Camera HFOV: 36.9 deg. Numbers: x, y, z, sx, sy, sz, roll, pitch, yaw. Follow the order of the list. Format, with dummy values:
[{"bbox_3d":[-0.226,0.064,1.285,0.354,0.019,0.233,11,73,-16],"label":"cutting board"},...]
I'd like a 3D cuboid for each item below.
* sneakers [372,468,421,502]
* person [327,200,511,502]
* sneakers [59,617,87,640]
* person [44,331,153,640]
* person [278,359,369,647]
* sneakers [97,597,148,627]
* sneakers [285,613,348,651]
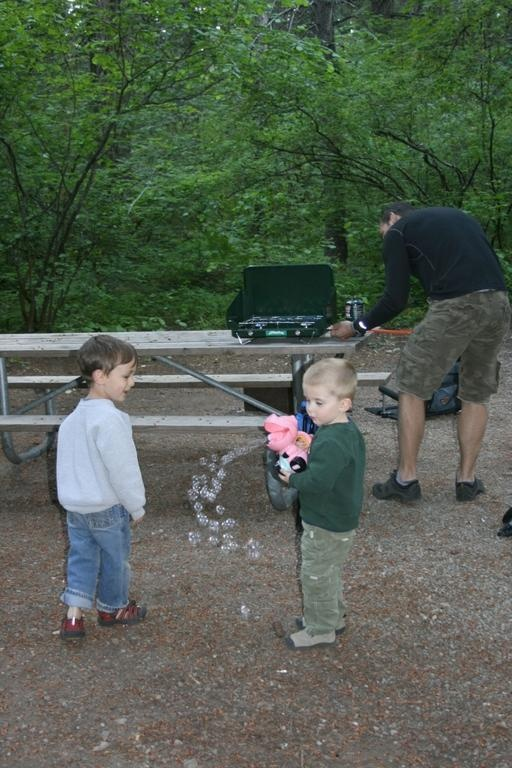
[{"bbox_3d":[0.753,0.554,4.177,0.300,0.161,0.120,5,8,23],"label":"sneakers"},{"bbox_3d":[0.895,-0.132,3.967,0.764,1.510,0.383,0,20,6],"label":"person"},{"bbox_3d":[-0.676,0.907,2.842,0.063,0.043,0.114,1,3,-9],"label":"sneakers"},{"bbox_3d":[-0.591,0.422,2.880,0.377,1.173,0.401,-5,20,-10],"label":"person"},{"bbox_3d":[0.229,0.441,2.682,0.261,1.078,0.308,7,21,22],"label":"person"},{"bbox_3d":[-0.510,0.882,3.025,0.190,0.106,0.074,-10,26,-18],"label":"sneakers"},{"bbox_3d":[0.211,0.921,2.861,0.251,0.133,0.085,2,7,2],"label":"sneakers"}]
